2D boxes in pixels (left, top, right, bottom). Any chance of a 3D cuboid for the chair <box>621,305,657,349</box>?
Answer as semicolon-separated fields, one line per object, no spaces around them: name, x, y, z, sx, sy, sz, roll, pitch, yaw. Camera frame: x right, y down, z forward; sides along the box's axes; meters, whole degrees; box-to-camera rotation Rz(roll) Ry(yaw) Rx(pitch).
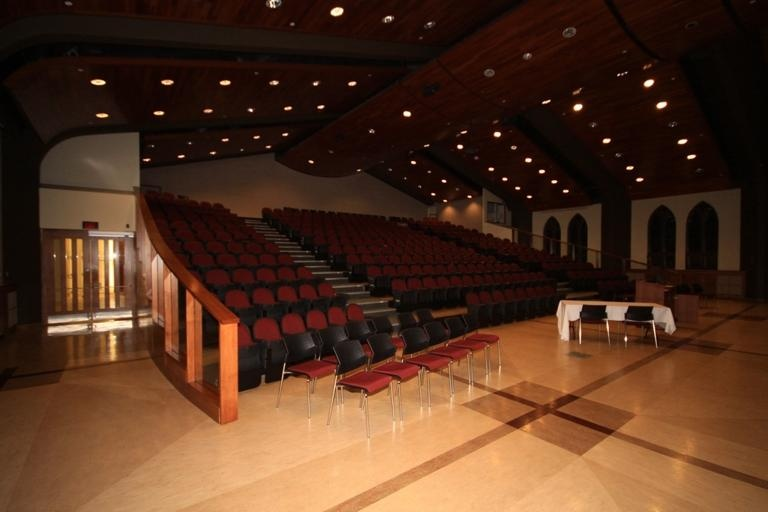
chair;5.806;1.495;10.711;0.634;0.880;0.639;-2;12;16

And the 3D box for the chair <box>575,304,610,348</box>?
chair;4.854;1.544;10.959;0.767;0.924;0.776;-4;8;-11
